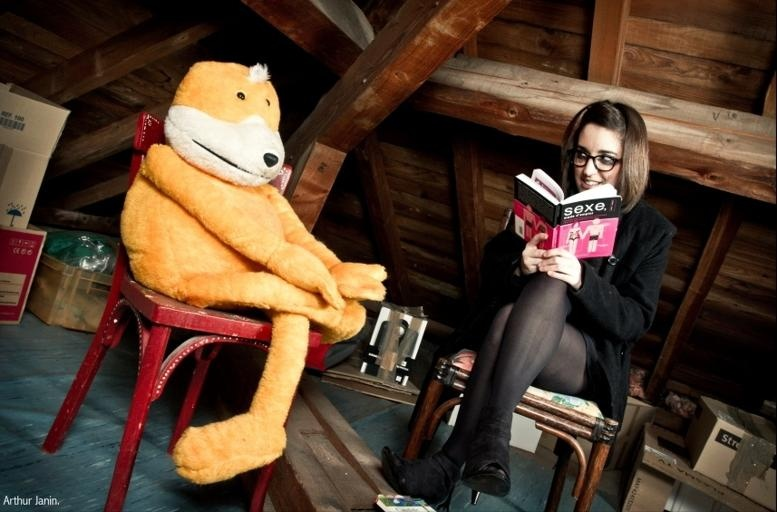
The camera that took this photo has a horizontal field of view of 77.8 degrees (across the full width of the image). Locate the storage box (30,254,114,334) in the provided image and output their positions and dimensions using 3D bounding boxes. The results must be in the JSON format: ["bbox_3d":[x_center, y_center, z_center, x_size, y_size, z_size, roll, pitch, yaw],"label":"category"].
[{"bbox_3d":[-1.452,0.177,2.214,0.308,0.184,0.300,19,-5,15],"label":"storage box"}]

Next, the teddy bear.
[{"bbox_3d":[-0.412,0.022,1.473,0.822,1.253,0.331,14,-6,9],"label":"teddy bear"}]

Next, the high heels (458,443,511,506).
[{"bbox_3d":[0.291,0.666,1.475,0.091,0.094,0.215,6,-34,2],"label":"high heels"}]
